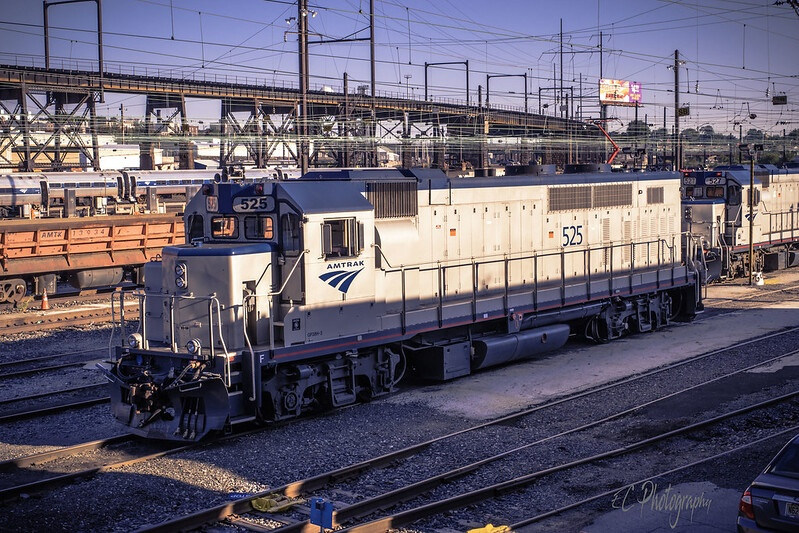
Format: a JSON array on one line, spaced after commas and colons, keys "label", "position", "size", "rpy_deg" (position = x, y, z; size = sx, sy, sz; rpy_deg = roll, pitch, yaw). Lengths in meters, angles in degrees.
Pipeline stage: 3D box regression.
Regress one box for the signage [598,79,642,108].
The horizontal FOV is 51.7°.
[{"label": "signage", "position": [15.873, -12.524, 59.332], "size": [2.205, 2.155, 7.731], "rpy_deg": [4, 15, 21]}]
